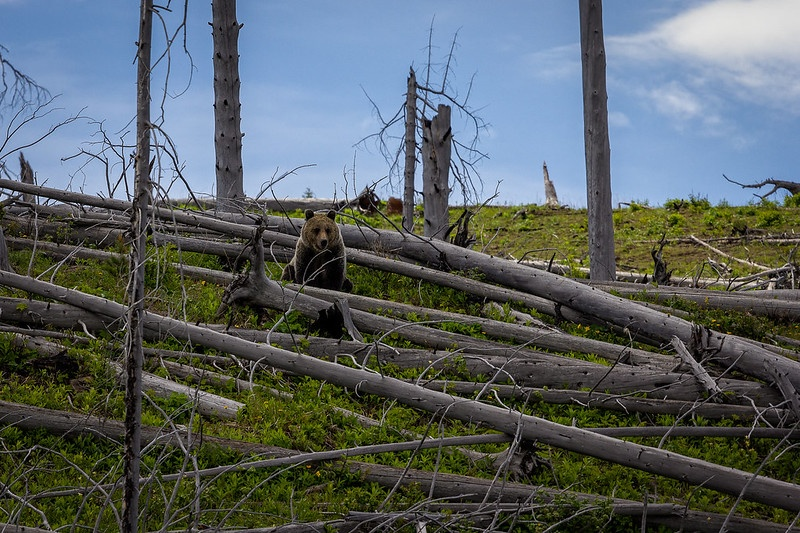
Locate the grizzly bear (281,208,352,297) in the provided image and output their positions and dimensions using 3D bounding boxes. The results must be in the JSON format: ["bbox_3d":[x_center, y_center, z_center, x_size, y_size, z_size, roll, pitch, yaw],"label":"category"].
[{"bbox_3d":[-1.914,-0.377,19.959,1.476,1.910,1.447,2,2,4],"label":"grizzly bear"}]
